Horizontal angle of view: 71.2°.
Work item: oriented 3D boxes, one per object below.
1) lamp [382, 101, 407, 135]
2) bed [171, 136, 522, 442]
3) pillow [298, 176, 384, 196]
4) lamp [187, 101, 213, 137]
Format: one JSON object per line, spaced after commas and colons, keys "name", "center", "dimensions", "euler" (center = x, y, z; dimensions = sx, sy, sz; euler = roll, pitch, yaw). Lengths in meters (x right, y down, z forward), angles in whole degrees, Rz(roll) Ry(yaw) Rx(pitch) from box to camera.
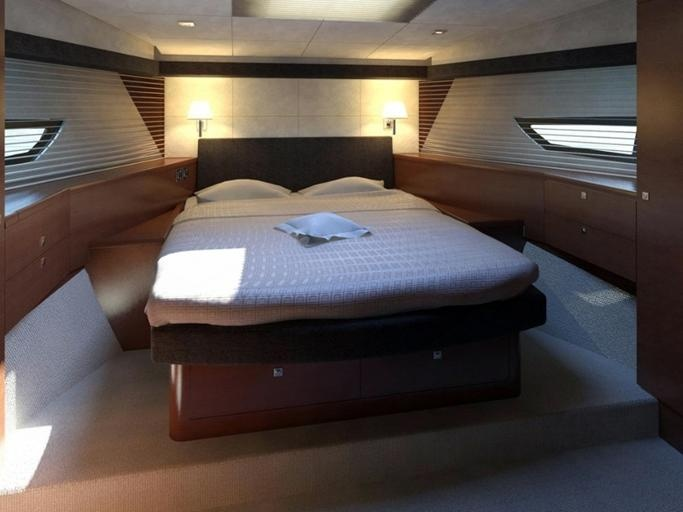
{"name": "lamp", "center": [0.642, -1.645, 5.664], "dimensions": [0.288, 0.395, 0.343], "euler": [1, 7, 6]}
{"name": "bed", "center": [-0.105, -0.157, 3.609], "dimensions": [2.117, 1.498, 2.412], "euler": [-5, 17, -7]}
{"name": "pillow", "center": [0.034, -0.758, 5.225], "dimensions": [0.588, 0.135, 0.397], "euler": [-3, 13, -7]}
{"name": "lamp", "center": [-1.540, -1.489, 5.198], "dimensions": [0.284, 0.416, 0.292], "euler": [-3, 27, -20]}
